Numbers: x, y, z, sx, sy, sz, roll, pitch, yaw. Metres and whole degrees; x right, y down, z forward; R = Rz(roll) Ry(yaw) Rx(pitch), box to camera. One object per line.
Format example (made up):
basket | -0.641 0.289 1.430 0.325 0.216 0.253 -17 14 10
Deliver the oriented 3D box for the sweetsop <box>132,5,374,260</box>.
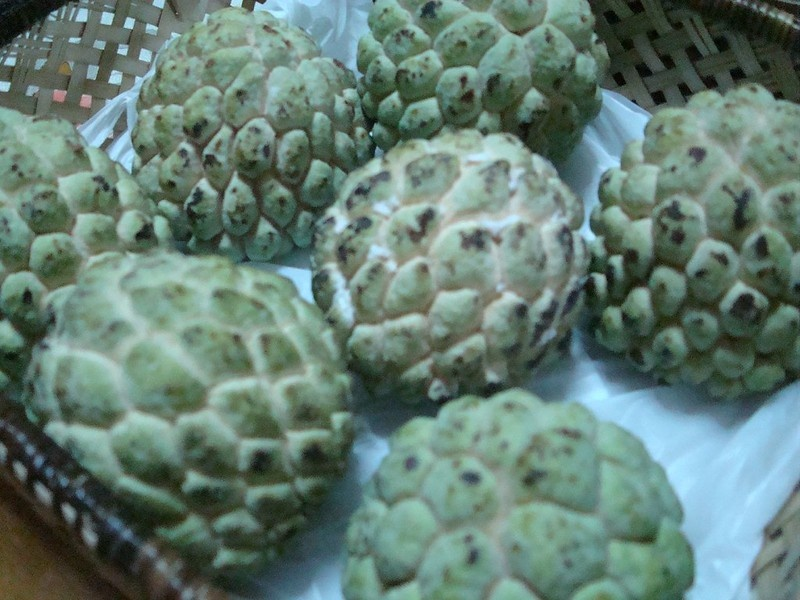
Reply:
sweetsop | -0.246 -0.291 1.576 0.348 0.402 0.428 -1 4 2

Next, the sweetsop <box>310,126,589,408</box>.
sweetsop | 0.083 -0.034 1.363 0.411 0.331 0.374 -21 57 -21
